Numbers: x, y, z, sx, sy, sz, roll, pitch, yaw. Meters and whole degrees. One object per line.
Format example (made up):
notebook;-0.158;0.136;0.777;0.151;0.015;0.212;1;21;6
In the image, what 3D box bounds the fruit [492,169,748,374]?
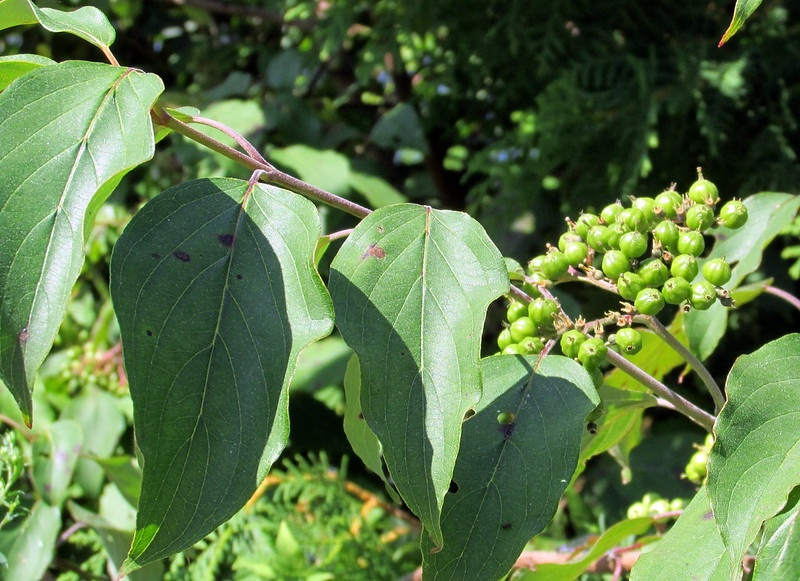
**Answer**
fruit;0.393;0.004;1.789;0.415;0.299;0.153;-30;-18;0
